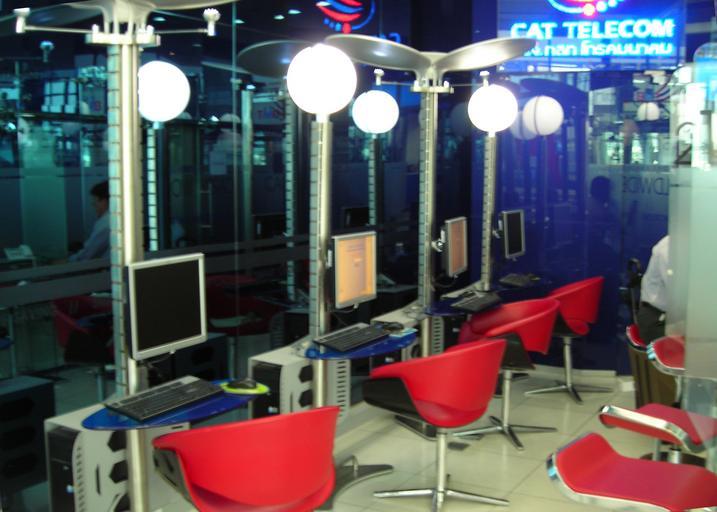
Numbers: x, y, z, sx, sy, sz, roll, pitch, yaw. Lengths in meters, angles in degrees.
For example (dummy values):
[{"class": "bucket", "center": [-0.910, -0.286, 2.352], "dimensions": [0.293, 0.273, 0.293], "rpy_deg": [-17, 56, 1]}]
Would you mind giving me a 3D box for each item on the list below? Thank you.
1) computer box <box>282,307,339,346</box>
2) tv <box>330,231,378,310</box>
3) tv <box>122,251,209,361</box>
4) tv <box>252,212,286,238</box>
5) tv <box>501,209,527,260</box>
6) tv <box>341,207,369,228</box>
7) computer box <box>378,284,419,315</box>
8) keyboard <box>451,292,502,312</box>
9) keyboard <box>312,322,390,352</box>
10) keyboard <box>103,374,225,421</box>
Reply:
[{"class": "computer box", "center": [-0.368, 0.556, 5.385], "dimensions": [0.408, 0.487, 0.308], "rpy_deg": [3, 8, 15]}, {"class": "tv", "center": [-0.041, 0.087, 4.372], "dimensions": [0.097, 0.569, 0.730], "rpy_deg": [3, 7, 33]}, {"class": "tv", "center": [-1.033, 0.252, 3.339], "dimensions": [0.090, 0.493, 0.562], "rpy_deg": [1, 5, 27]}, {"class": "tv", "center": [-0.702, -0.249, 4.933], "dimensions": [0.023, 0.192, 0.341], "rpy_deg": [8, 13, 36]}, {"class": "tv", "center": [1.498, -0.216, 6.103], "dimensions": [0.082, 0.453, 0.415], "rpy_deg": [0, 8, 39]}, {"class": "tv", "center": [-0.050, -0.363, 5.730], "dimensions": [0.211, 0.156, 0.067], "rpy_deg": [-9, 14, -42]}, {"class": "computer box", "center": [0.358, 0.407, 5.971], "dimensions": [0.311, 0.232, 0.154], "rpy_deg": [-11, 15, -42]}, {"class": "keyboard", "center": [1.000, 0.389, 5.310], "dimensions": [0.198, 0.041, 0.330], "rpy_deg": [4, 10, 30]}, {"class": "keyboard", "center": [-0.022, 0.535, 4.212], "dimensions": [0.268, 0.071, 0.576], "rpy_deg": [8, 13, 39]}, {"class": "keyboard", "center": [-1.107, 0.736, 3.228], "dimensions": [0.442, 0.041, 0.256], "rpy_deg": [-8, 14, 41]}]
